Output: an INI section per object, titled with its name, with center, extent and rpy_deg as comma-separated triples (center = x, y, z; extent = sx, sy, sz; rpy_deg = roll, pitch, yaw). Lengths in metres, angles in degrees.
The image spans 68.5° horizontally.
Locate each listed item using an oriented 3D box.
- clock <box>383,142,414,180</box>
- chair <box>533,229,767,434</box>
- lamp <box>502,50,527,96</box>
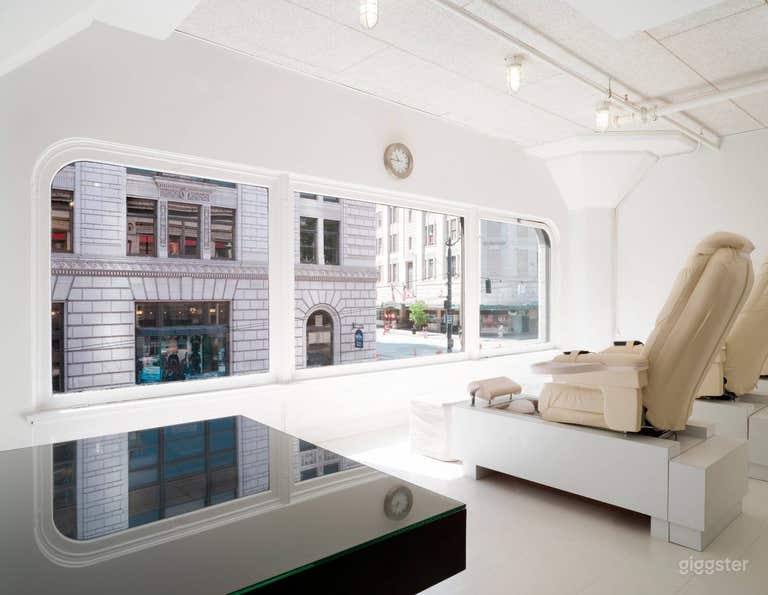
[clock]
center = 0.153, -1.334, 5.534
extent = 0.073, 0.352, 0.419
rpy_deg = 7, 7, 44
[chair]
center = 1.654, 0.315, 3.617
extent = 1.145, 1.309, 1.345
rpy_deg = -2, -5, 43
[lamp]
center = 1.054, -1.763, 4.572
extent = 0.162, 0.331, 0.650
rpy_deg = 3, 5, 12
